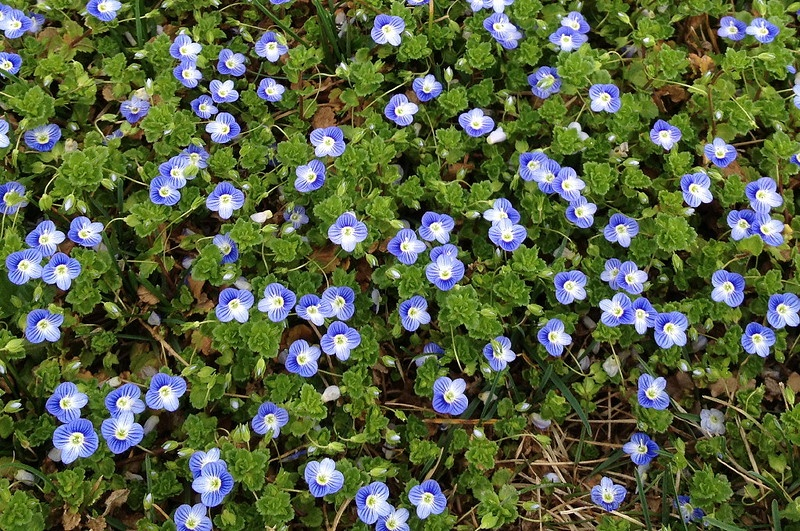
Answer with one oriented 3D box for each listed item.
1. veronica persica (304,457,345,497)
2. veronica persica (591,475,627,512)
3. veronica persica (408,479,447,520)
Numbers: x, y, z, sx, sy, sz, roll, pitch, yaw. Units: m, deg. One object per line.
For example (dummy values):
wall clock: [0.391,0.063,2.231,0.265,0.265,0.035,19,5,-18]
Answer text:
veronica persica: [-0.447,1.242,4.419,0.216,0.224,0.195,-19,66,-9]
veronica persica: [1.250,1.378,4.587,0.209,0.113,0.200,-12,91,-21]
veronica persica: [0.165,1.387,4.455,0.231,0.303,0.186,-15,65,-7]
